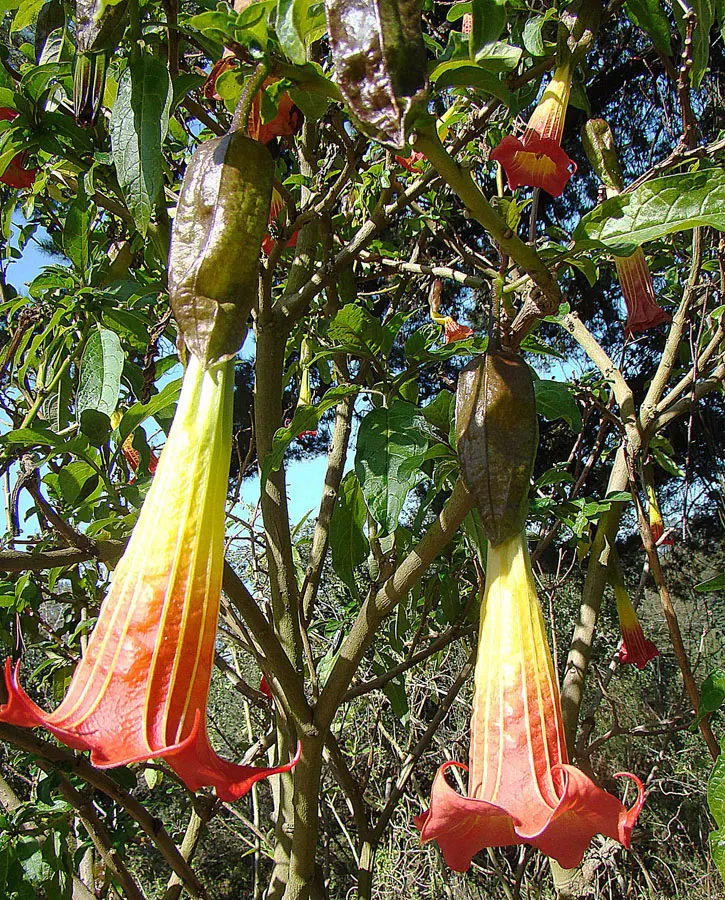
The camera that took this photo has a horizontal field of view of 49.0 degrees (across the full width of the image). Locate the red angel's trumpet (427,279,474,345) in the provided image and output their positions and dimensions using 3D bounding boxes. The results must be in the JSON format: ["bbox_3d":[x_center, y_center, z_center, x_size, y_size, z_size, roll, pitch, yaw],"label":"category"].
[{"bbox_3d":[0.180,-0.324,1.820,0.092,0.154,0.081,-15,-2,25],"label":"red angel's trumpet"}]

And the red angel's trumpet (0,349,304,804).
[{"bbox_3d":[-0.189,0.081,0.657,0.170,0.272,0.246,-13,9,15],"label":"red angel's trumpet"}]

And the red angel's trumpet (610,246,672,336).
[{"bbox_3d":[0.493,-0.282,1.449,0.074,0.142,0.073,-1,-13,33],"label":"red angel's trumpet"}]

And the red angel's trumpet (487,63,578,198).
[{"bbox_3d":[0.299,-0.548,1.283,0.090,0.174,0.085,22,3,22],"label":"red angel's trumpet"}]
